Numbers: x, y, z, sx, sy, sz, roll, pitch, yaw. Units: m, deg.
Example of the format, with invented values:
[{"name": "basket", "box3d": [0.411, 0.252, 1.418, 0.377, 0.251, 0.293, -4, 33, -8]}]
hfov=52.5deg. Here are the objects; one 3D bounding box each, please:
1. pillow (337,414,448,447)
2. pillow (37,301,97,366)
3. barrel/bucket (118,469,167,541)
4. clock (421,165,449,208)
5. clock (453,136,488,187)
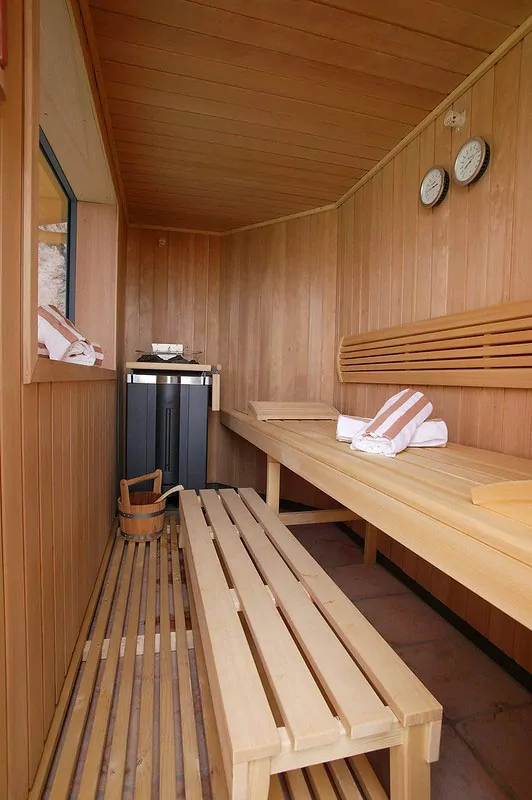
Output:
[{"name": "pillow", "box3d": [0.537, 0.120, 2.024, 0.201, 0.078, 0.204, -3, 2, -38]}, {"name": "pillow", "box3d": [-0.654, -0.210, 1.769, 0.165, 0.195, 0.469, -1, 4, -19]}, {"name": "barrel/bucket", "box3d": [-0.692, 0.535, 2.832, 0.278, 0.390, 0.338, 0, -2, 9]}, {"name": "clock", "box3d": [0.724, -0.918, 2.338, 0.029, 0.143, 0.133, 5, -26, -22]}, {"name": "clock", "box3d": [0.793, -0.924, 2.096, 0.054, 0.170, 0.217, 0, 4, -7]}]
